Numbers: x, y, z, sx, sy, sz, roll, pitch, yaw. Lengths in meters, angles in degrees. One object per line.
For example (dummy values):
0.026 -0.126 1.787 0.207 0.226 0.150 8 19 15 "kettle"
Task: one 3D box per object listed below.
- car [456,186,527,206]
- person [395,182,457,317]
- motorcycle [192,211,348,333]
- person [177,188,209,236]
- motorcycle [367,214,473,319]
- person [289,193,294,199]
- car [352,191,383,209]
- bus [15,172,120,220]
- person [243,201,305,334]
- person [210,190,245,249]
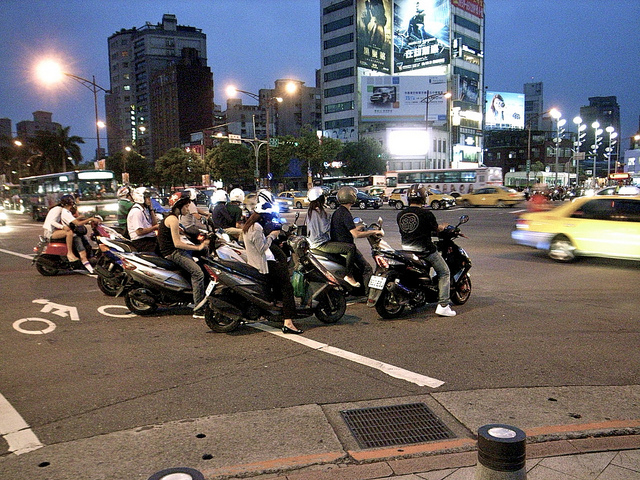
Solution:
12.072 -3.032 38.693 3.703 1.087 1.769 4 8 33 "car"
1.660 0.174 8.437 0.911 2.045 0.330 1 11 12 "person"
-0.733 0.540 8.033 2.369 1.473 1.017 -3 2 -28 "motorcycle"
-2.493 -0.462 10.161 0.702 0.638 1.227 -1 2 -10 "person"
1.696 0.406 8.732 2.390 1.484 1.039 -5 7 -38 "motorcycle"
-2.318 -3.465 43.451 0.407 0.502 0.929 -3 -11 -2 "person"
3.408 -2.924 40.918 2.494 0.777 1.157 2 5 42 "car"
-17.164 -2.713 36.378 8.875 2.916 3.069 2 4 41 "bus"
-0.700 0.294 7.579 0.743 1.669 0.288 -2 10 -3 "person"
-1.954 -0.498 11.014 0.840 0.801 1.442 -1 28 -2 "person"
